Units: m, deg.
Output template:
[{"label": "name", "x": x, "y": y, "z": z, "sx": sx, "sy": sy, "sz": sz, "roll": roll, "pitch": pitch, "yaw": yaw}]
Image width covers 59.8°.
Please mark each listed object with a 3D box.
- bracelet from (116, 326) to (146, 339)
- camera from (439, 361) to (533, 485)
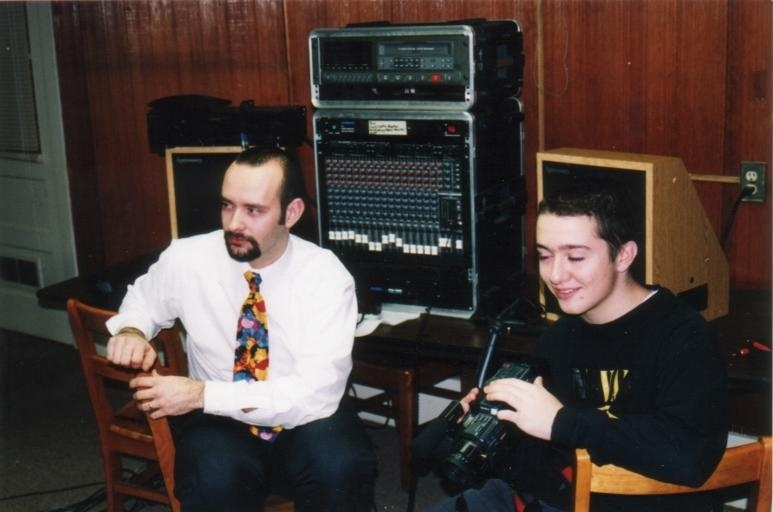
[{"label": "bracelet", "x": -1.007, "y": 0.298, "z": 2.643, "sx": 0.062, "sy": 0.045, "sz": 0.061, "roll": -4, "pitch": 9, "yaw": -31}, {"label": "camera", "x": 0.390, "y": 0.523, "z": 2.246, "sx": 0.180, "sy": 0.231, "sz": 0.502, "roll": 6, "pitch": 38, "yaw": 37}]
